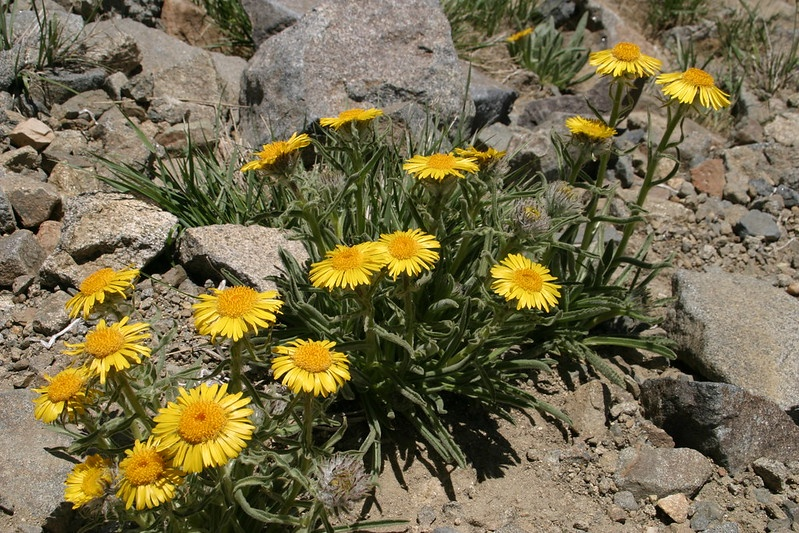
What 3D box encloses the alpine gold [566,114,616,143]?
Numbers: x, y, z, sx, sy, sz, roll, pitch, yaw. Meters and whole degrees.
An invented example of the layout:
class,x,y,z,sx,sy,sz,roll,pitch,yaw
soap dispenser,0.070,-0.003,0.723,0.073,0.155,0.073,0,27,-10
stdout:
class,x,y,z,sx,sy,sz,roll,pitch,yaw
alpine gold,1.303,-0.894,5.802,0.243,0.086,0.221,-10,44,-20
